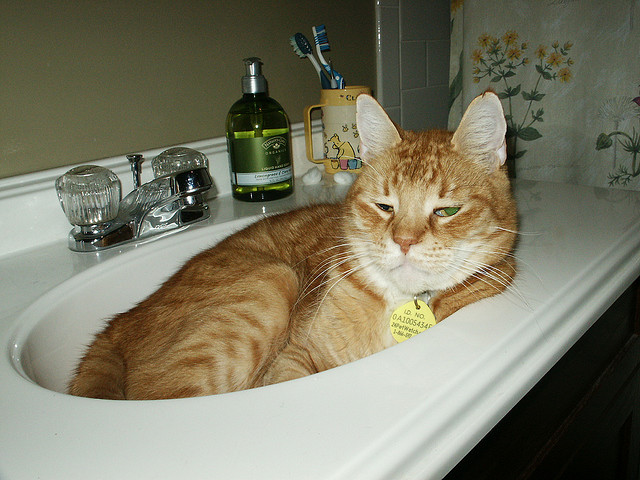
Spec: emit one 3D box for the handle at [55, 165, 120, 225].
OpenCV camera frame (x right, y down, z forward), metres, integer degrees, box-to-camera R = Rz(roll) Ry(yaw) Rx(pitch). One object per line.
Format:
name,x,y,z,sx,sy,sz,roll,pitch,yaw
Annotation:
handle,-0.611,-0.140,1.295,0.149,0.136,0.149,-8,14,-27

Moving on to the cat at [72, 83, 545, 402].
cat,-0.012,0.020,1.106,0.965,0.477,0.627,-13,19,-29
